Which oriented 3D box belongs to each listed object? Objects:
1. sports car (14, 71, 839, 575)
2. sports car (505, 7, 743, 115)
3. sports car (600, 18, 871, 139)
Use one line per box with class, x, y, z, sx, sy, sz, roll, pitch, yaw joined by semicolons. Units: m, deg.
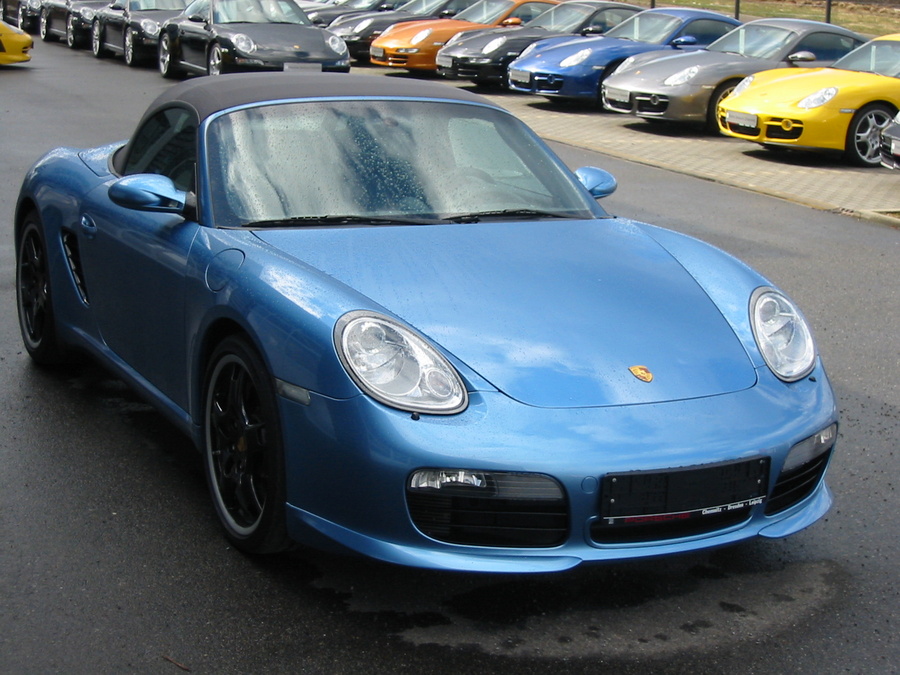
sports car;-0.586;-0.342;3.459;2.012;1.043;3.952;-7;19;-38
sports car;4.114;-6.370;16.331;5.473;1.202;2.258;-5;14;-24
sports car;5.111;-5.250;14.244;5.710;1.236;2.356;-4;11;-23
